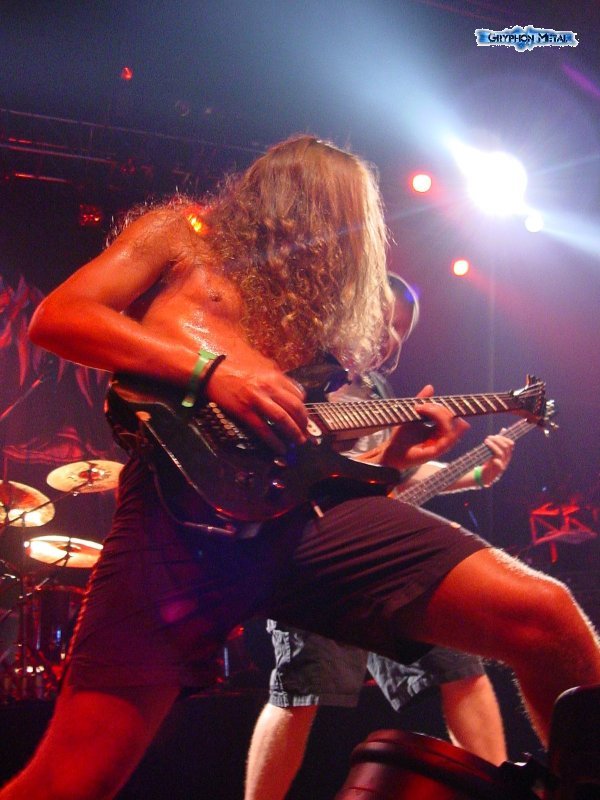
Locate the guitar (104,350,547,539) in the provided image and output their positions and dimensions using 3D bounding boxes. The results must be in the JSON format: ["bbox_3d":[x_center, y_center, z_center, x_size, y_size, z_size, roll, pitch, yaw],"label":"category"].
[{"bbox_3d":[0.203,0.069,1.934,1.285,0.449,0.147,-9,-19,-37],"label":"guitar"}]

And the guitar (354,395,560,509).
[{"bbox_3d":[0.976,0.339,4.060,1.475,0.445,0.185,-23,-17,-43],"label":"guitar"}]
